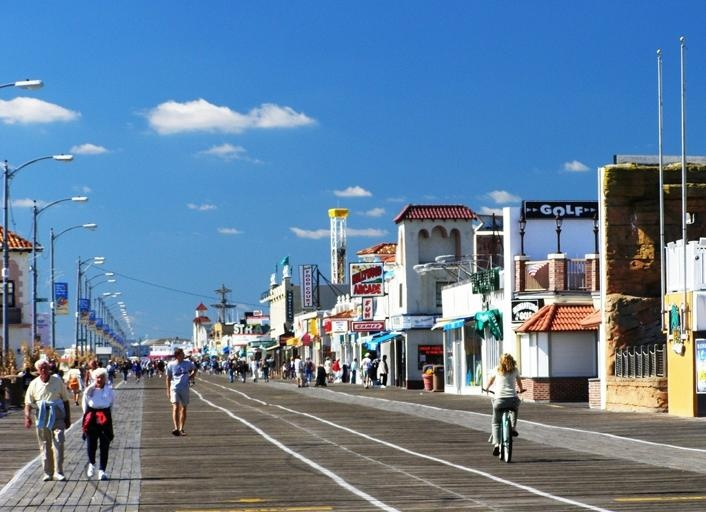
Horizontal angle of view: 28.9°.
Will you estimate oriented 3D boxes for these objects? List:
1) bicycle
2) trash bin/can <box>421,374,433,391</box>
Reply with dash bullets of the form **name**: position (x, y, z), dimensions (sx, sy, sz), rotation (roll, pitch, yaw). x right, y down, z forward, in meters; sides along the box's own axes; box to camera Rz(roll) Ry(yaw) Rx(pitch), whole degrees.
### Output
- **bicycle**: position (3.494, 4.058, 31.620), dimensions (0.765, 0.968, 1.557), rotation (-1, -2, -1)
- **trash bin/can**: position (3.565, 5.927, 64.705), dimensions (0.688, 0.707, 0.698), rotation (0, -5, 1)
